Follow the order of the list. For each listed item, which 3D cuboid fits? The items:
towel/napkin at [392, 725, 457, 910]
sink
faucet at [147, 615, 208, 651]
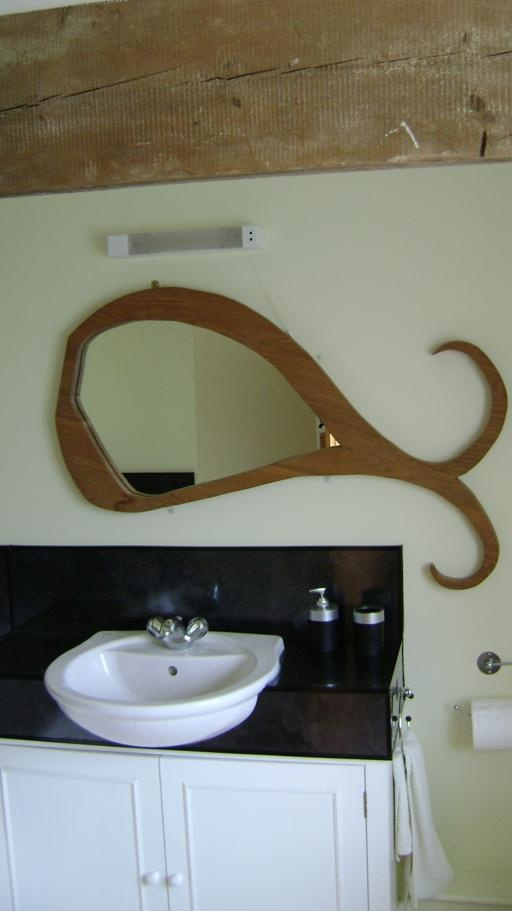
[{"bbox_3d":[0.379,0.884,1.833,0.123,0.496,0.337,-2,5,18],"label":"towel/napkin"},{"bbox_3d":[-0.192,0.527,1.760,0.499,0.174,0.478,-4,5,6],"label":"sink"},{"bbox_3d":[-0.179,0.418,1.861,0.132,0.069,0.067,-7,-7,26],"label":"faucet"}]
